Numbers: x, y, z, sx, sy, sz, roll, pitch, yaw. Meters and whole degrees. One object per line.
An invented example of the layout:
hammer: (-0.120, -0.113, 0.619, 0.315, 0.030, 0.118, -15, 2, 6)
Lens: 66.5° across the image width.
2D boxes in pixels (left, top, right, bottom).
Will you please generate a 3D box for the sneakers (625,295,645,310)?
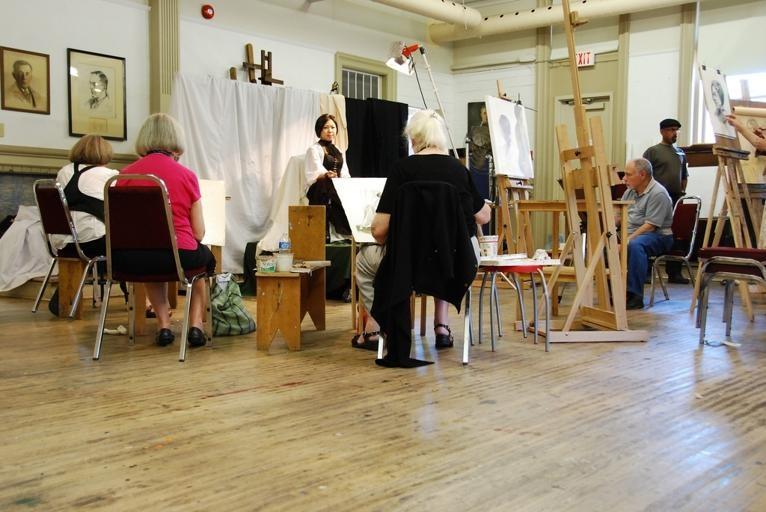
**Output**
sneakers: (2.425, 0.445, 5.645, 0.147, 0.127, 0.174, 4, 12, 20)

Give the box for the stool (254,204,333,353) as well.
stool: (-0.655, 0.154, 4.371, 0.488, 1.008, 0.729, 0, 11, -3)

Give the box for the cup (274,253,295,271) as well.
cup: (-0.698, 0.040, 4.173, 0.112, 0.109, 0.118, -1, 1, 0)

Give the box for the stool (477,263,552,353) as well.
stool: (0.918, 0.337, 4.374, 0.471, 0.544, 0.476, 1, -5, -6)

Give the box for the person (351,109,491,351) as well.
person: (0.276, -0.149, 4.142, 0.907, 1.687, 0.961, 1, -2, -33)

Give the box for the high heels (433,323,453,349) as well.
high heels: (0.420, 0.580, 4.135, 0.078, 0.105, 0.220, -1, 2, 12)

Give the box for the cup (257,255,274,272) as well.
cup: (-0.843, 0.053, 4.152, 0.106, 0.109, 0.110, -1, 3, 0)

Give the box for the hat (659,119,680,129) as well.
hat: (3.443, -1.600, 7.018, 0.195, 0.119, 0.202, 9, 14, 36)

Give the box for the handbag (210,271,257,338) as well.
handbag: (-1.241, 0.415, 4.834, 0.276, 0.557, 0.417, -15, -12, 35)

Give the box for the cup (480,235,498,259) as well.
cup: (0.778, -0.069, 4.262, 0.133, 0.192, 0.157, -2, 4, -16)

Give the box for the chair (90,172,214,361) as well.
chair: (-1.586, 0.065, 4.055, 0.589, 1.230, 0.709, 0, 2, 0)
